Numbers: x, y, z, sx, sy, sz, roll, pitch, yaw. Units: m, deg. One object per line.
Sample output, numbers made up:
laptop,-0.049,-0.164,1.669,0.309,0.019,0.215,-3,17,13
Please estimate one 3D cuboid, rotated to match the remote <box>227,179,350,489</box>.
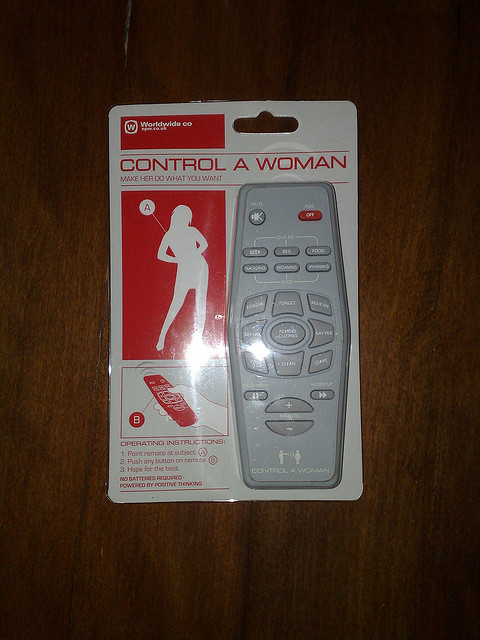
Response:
remote,0.032,0.008,0.367,0.079,0.026,0.207,-2,82,-1
